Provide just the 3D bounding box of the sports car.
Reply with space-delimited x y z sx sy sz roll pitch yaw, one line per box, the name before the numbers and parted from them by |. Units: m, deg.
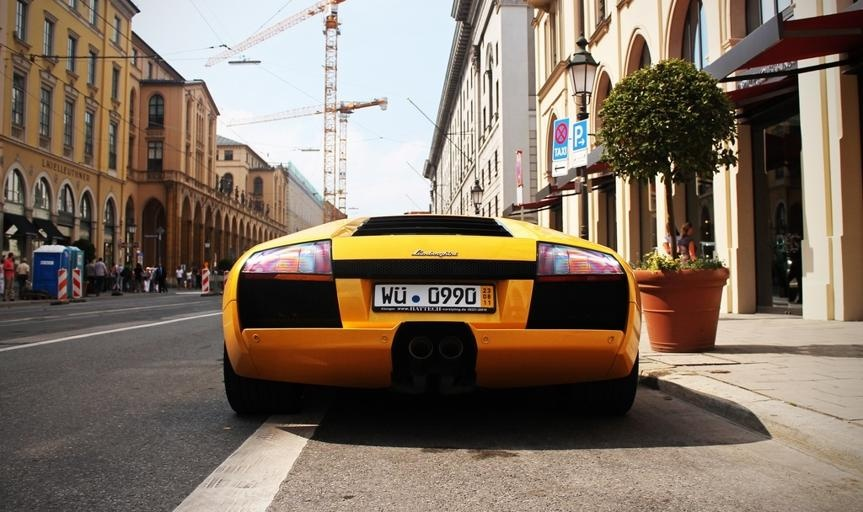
sports car | -0.017 0.680 6.536 3.824 1.899 0.763 -1 6 -1
